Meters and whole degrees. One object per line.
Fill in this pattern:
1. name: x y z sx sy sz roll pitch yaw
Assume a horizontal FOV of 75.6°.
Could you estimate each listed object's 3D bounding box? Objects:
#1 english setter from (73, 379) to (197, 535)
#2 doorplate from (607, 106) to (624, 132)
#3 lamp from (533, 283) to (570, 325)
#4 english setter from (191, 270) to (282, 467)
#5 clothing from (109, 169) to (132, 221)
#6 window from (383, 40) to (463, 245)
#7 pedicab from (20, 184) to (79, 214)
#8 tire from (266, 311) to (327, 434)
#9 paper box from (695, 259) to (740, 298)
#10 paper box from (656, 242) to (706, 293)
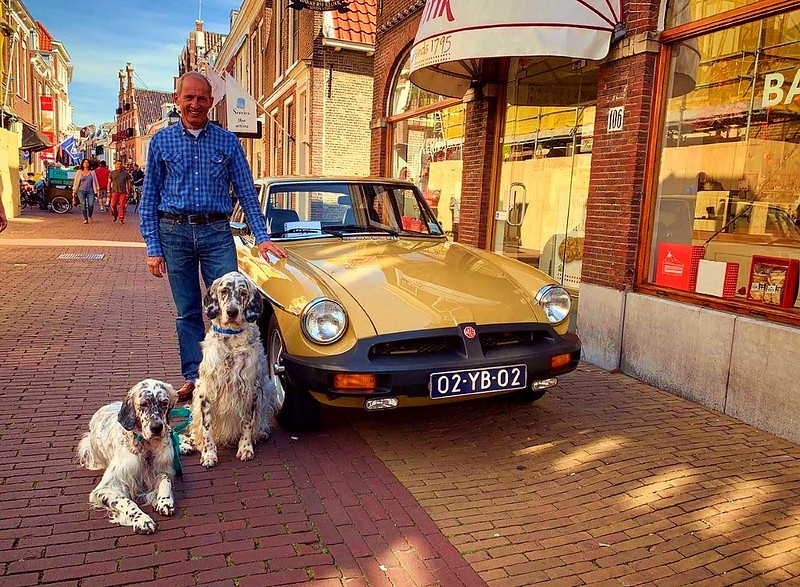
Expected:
1. english setter: -1.843 0.987 3.498 0.929 0.832 0.540 9 15 26
2. doorplate: 2.655 -2.142 6.340 0.032 0.334 0.326 -3 10 -24
3. lamp: 1.330 0.089 4.503 0.256 0.352 0.142 4 -21 -15
4. english setter: -1.298 0.563 3.994 0.660 1.447 0.420 -3 15 -23
5. clothing: -12.175 -4.396 22.357 0.946 2.619 0.976 -3 15 -35
6. window: -0.177 -3.470 12.023 2.337 4.026 2.198 -8 15 -44
7. pedicab: -16.871 -4.510 24.867 2.828 1.699 1.287 4 9 6
8. tire: -0.818 0.643 4.105 0.300 0.932 0.912 -4 10 -24
9. paper box: 3.457 -0.166 5.640 0.424 0.359 0.248 14 18 40
10. paper box: 3.254 -0.290 5.945 0.170 0.533 0.521 6 4 -26
